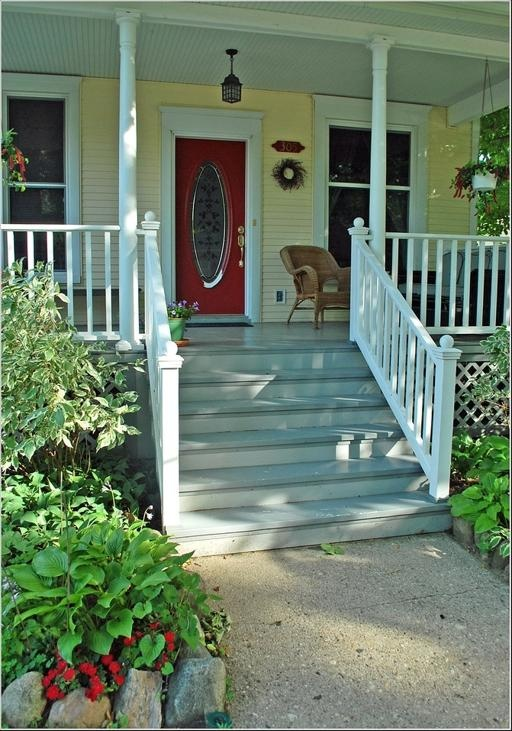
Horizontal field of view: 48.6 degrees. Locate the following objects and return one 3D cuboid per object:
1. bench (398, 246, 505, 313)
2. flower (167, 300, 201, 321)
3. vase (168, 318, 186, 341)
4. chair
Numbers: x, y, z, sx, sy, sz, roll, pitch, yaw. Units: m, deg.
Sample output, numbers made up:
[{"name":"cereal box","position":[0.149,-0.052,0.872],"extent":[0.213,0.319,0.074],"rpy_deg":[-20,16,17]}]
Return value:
[{"name":"bench","position":[2.144,-1.013,6.314],"extent":[0.923,0.909,0.571],"rpy_deg":[4,1,12]},{"name":"flower","position":[-0.661,-0.505,5.135],"extent":[0.396,0.201,0.392],"rpy_deg":[2,11,0]},{"name":"vase","position":[-0.597,-0.276,4.360],"extent":[0.173,0.168,0.170],"rpy_deg":[0,0,-4]},{"name":"chair","position":[0.685,-0.886,6.106],"extent":[0.727,0.793,0.928],"rpy_deg":[-2,13,-23]}]
